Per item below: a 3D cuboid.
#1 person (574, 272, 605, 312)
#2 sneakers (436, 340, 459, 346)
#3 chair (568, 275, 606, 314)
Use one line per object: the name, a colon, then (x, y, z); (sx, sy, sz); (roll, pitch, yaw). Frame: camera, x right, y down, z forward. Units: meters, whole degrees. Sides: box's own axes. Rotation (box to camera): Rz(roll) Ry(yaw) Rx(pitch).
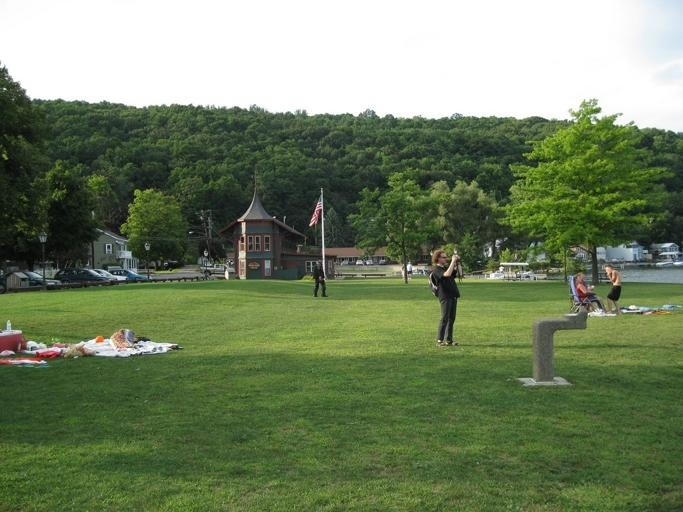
person: (8.317, 1.238, 22.756); (0.763, 1.349, 0.720); (-1, 19, 32)
sneakers: (2.510, 2.067, 16.115); (0.515, 0.233, 0.181); (-2, -1, 6)
chair: (8.377, 1.196, 23.025); (1.093, 1.434, 1.049); (3, 19, 27)
